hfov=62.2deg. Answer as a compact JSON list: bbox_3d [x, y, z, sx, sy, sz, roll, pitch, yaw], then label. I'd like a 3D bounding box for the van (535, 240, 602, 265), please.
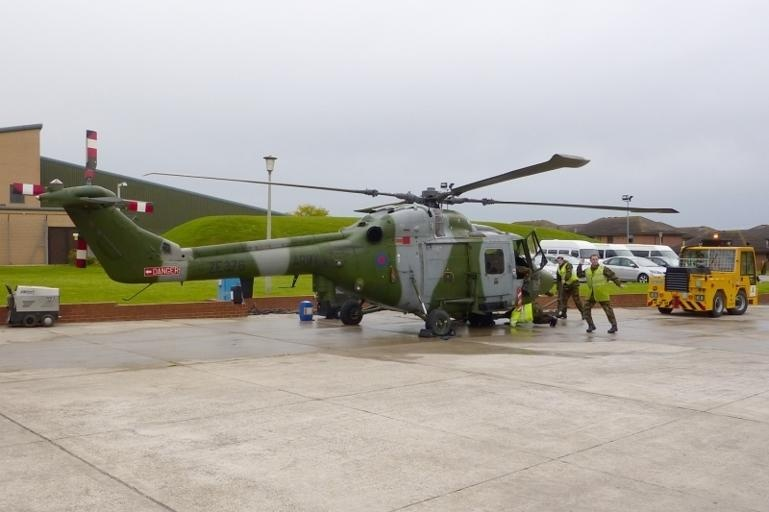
[{"bbox_3d":[10.786,-0.388,39.069,4.466,1.905,2.796,0,2,44],"label":"van"}]

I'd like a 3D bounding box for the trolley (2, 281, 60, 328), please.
[{"bbox_3d":[-9.279,1.240,16.352,2.174,1.007,1.300,0,-1,30],"label":"trolley"}]

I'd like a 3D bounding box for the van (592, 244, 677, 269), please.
[{"bbox_3d":[15.739,-0.159,39.230,3.619,1.335,2.096,-2,4,8],"label":"van"}]
